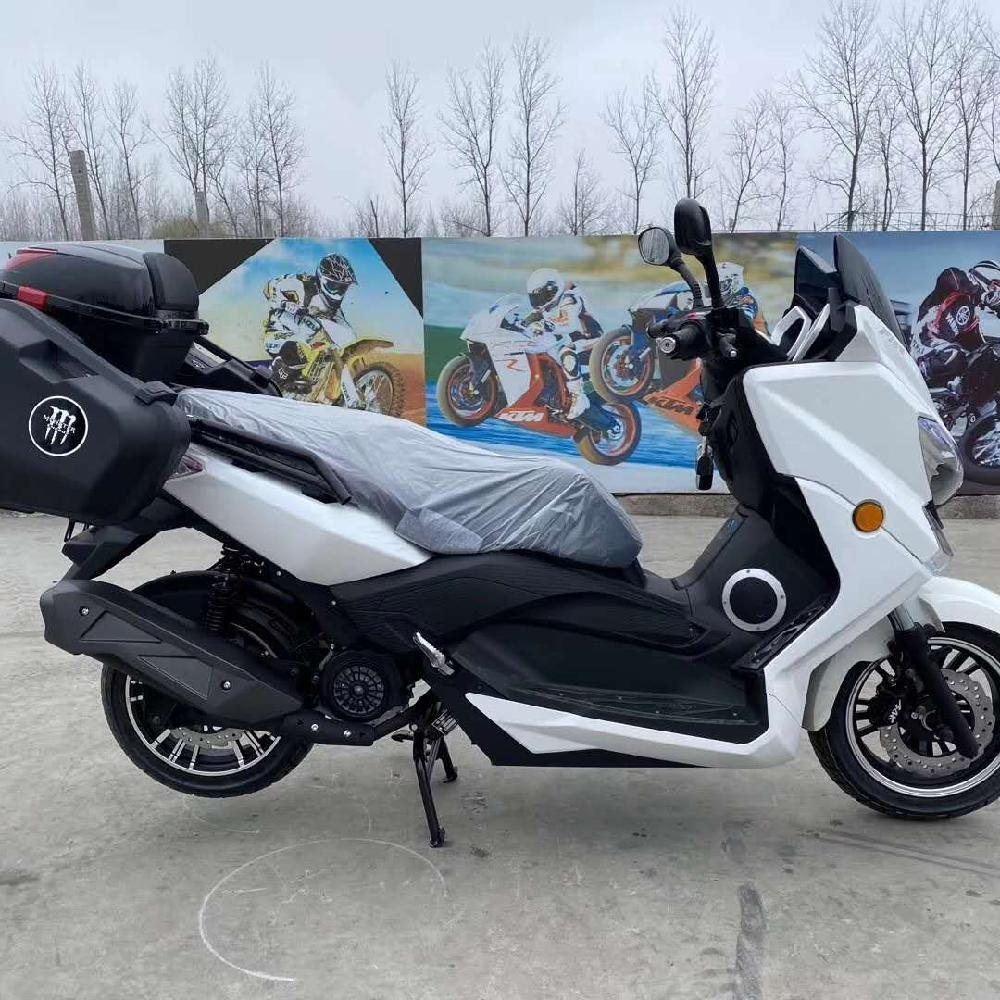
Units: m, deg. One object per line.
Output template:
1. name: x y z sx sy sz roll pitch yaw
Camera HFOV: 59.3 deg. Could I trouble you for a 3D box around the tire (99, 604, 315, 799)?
1. tire: -0.889 0.604 2.920 0.709 0.551 0.597 9 3 8
